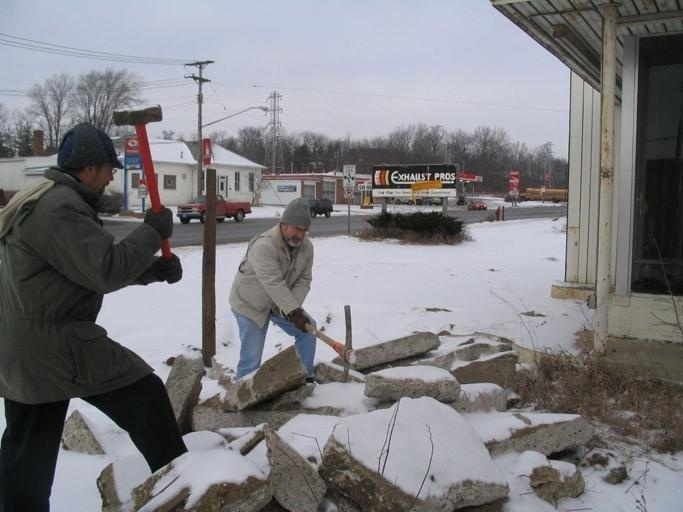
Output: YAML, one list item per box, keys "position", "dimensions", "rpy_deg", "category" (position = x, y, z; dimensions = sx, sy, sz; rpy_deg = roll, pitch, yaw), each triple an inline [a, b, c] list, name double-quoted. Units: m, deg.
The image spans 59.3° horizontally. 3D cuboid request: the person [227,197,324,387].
- position: [-0.551, 0.326, 5.226]
  dimensions: [0.708, 1.778, 0.743]
  rpy_deg: [5, 10, -24]
  category: "person"
